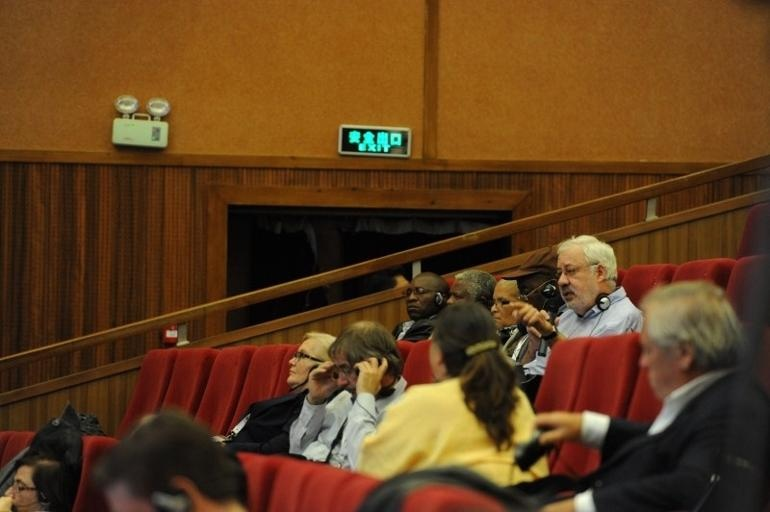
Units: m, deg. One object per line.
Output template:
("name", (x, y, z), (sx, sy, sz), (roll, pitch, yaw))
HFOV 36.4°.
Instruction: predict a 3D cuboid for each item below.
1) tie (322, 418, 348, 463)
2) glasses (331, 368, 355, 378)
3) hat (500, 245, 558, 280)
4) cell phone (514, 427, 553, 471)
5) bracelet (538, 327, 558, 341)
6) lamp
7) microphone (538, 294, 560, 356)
("tie", (-0.164, 0.631, 4.064), (0.107, 0.144, 0.050), (19, -3, -19))
("glasses", (-0.136, 0.384, 3.932), (0.043, 0.024, 0.058), (-6, 0, -13))
("hat", (0.576, 0.031, 4.509), (0.218, 0.135, 0.136), (17, -7, -17))
("cell phone", (0.445, 0.588, 3.580), (0.052, 0.126, 0.099), (41, -7, 29))
("bracelet", (0.549, 0.255, 3.914), (0.042, 0.017, 0.042), (-27, 1, 2))
("lamp", (-1.207, -0.664, 5.691), (0.263, 0.247, 0.116), (2, -6, -11))
("microphone", (0.535, 0.232, 4.004), (0.064, 0.211, 0.058), (2, -3, -37))
